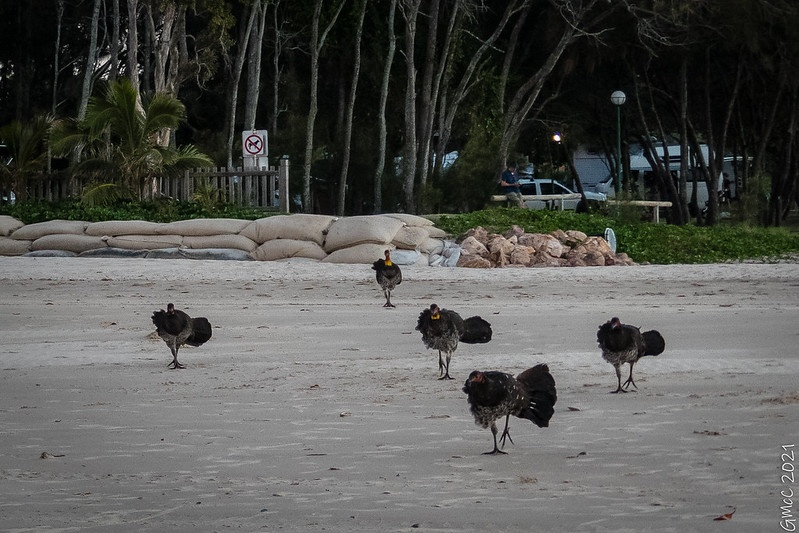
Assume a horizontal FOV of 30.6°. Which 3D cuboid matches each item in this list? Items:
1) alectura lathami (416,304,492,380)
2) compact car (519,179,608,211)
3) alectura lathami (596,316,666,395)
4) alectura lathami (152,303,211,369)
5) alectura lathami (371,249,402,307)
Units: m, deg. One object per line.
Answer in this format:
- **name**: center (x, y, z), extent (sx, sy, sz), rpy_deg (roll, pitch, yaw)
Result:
- **alectura lathami**: center (1.045, 1.421, 29.848), extent (0.894, 0.951, 2.080), rpy_deg (1, -2, 15)
- **compact car**: center (6.383, -2.433, 56.057), extent (3.638, 1.580, 1.729), rpy_deg (-2, 7, -5)
- **alectura lathami**: center (4.606, 1.751, 29.343), extent (1.191, 1.496, 0.571), rpy_deg (-2, 3, -32)
- **alectura lathami**: center (-4.547, 1.372, 30.621), extent (1.081, 1.394, 1.625), rpy_deg (6, 0, 1)
- **alectura lathami**: center (-0.281, 0.170, 35.088), extent (0.509, 1.406, 1.560), rpy_deg (-3, 2, -5)
